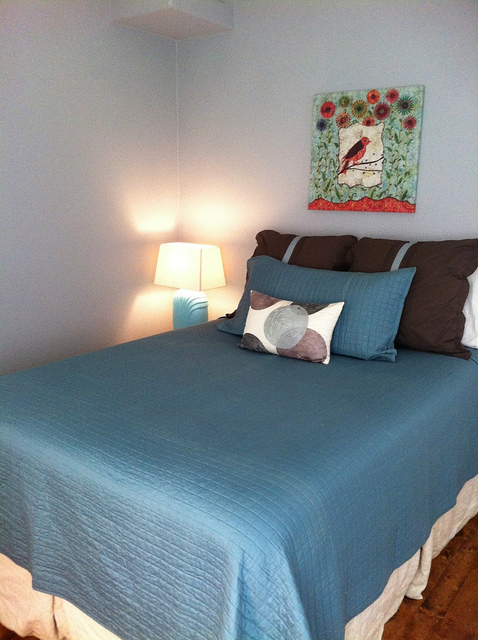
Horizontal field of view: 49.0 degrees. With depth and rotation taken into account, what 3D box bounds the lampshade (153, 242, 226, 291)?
[{"bbox_3d":[-0.293,-0.321,3.115,0.406,0.247,0.302,8,11,36],"label":"lampshade"}]
